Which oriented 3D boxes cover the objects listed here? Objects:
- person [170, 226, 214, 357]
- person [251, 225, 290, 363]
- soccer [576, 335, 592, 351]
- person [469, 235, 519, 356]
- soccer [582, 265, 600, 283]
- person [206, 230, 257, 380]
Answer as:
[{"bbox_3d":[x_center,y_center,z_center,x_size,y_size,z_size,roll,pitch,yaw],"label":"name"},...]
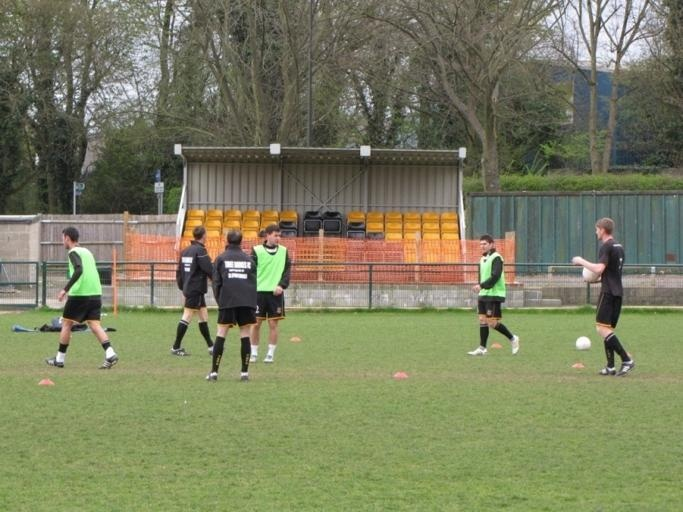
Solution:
[{"bbox_3d":[-3.827,0.962,36.745,1.080,3.271,1.502,0,0,44],"label":"person"},{"bbox_3d":[-1.909,0.991,36.059,1.062,3.177,1.422,0,0,-12],"label":"person"},{"bbox_3d":[6.632,2.386,37.509,0.352,0.363,0.356,-23,14,19],"label":"soccer"},{"bbox_3d":[4.142,0.932,37.218,1.133,3.322,1.264,-1,6,-17],"label":"person"},{"bbox_3d":[6.362,0.496,34.995,0.409,0.428,0.339,-8,-4,29],"label":"soccer"},{"bbox_3d":[-2.710,1.258,34.242,1.140,3.696,0.615,1,7,-4],"label":"person"}]
